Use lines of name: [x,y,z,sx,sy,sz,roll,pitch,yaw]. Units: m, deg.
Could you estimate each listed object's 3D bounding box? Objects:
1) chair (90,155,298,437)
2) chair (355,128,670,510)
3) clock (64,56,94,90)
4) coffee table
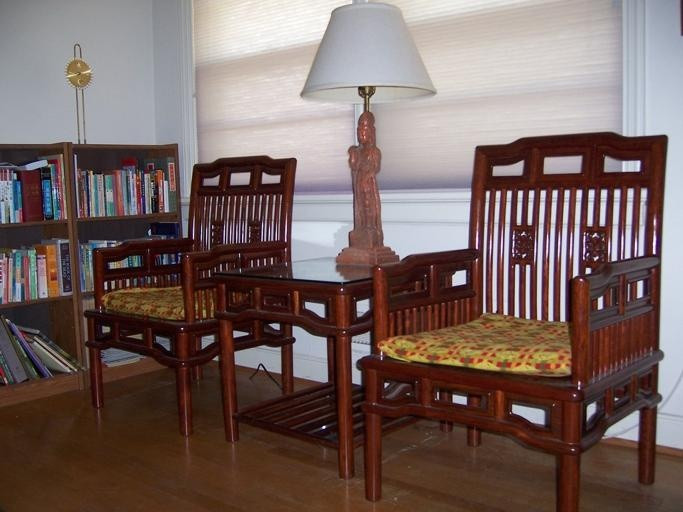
chair: [-0.723,0.123,2.645,0.977,1.110,0.933,-5,8,-25]
chair: [0.577,0.197,1.801,0.750,1.187,0.759,4,10,36]
clock: [-1.565,-1.094,3.307,0.077,0.186,0.122,3,10,31]
coffee table: [-0.094,0.389,2.229,0.688,0.724,0.531,3,10,32]
